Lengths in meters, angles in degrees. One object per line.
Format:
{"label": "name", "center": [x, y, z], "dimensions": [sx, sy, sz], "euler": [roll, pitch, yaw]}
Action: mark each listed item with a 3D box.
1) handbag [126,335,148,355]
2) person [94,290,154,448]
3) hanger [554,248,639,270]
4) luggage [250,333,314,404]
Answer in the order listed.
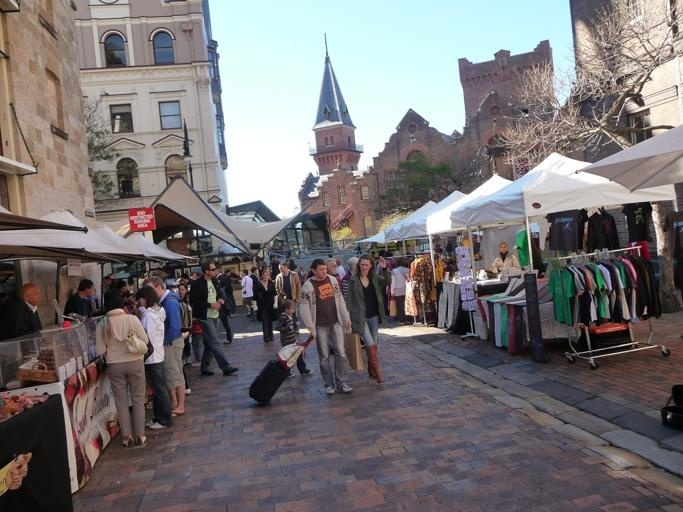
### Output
{"label": "handbag", "center": [-2.791, 1.200, 6.752], "dimensions": [0.239, 0.238, 0.124], "euler": [-7, -18, -35]}
{"label": "person", "center": [-2.988, 1.536, 6.879], "dimensions": [0.667, 2.201, 0.412], "euler": [-6, 2, -14]}
{"label": "hanger", "center": [4.414, 0.012, 8.845], "dimensions": [1.690, 0.250, 1.061], "euler": [-6, 2, -22]}
{"label": "luggage", "center": [-1.002, 1.770, 8.222], "dimensions": [0.413, 1.421, 0.427], "euler": [34, 3, -32]}
